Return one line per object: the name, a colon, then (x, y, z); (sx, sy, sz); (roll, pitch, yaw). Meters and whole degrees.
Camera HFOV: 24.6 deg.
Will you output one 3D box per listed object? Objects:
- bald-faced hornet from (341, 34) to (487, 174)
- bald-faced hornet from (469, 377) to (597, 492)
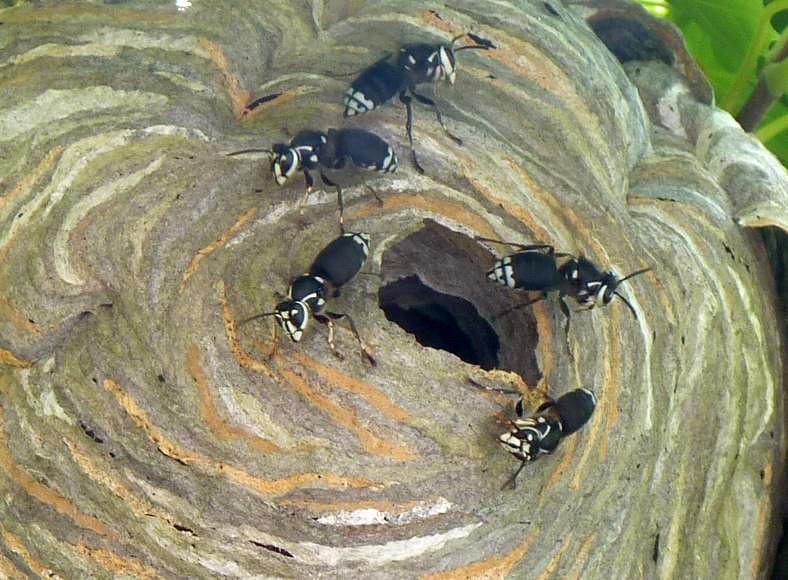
bald-faced hornet: (0.160, -0.901, 9.054); (0.684, 0.289, 0.680); (-29, 63, -8)
bald-faced hornet: (0.750, 0.656, 8.630); (0.471, 0.141, 0.477); (-28, 91, 9)
